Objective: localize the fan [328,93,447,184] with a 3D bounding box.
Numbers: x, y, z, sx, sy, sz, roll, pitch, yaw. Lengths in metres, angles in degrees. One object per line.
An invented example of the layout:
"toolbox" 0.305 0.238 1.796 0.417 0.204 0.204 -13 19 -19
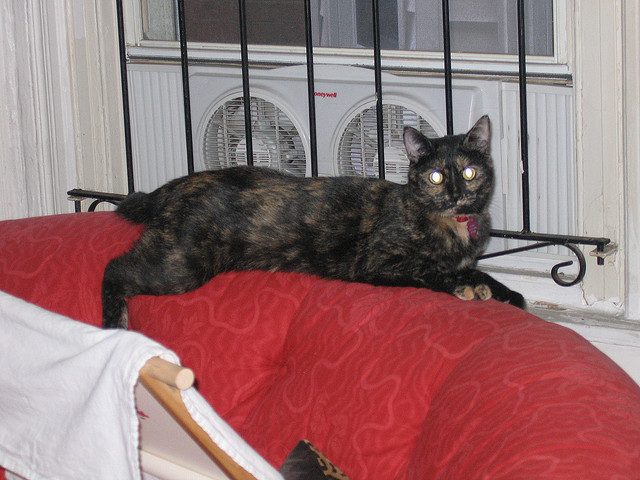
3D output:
"fan" 0.204 -0.368 3.122 0.361 0.363 0.087 5 8 29

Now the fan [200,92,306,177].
"fan" -0.251 -0.393 3.324 0.361 0.368 0.089 5 7 15

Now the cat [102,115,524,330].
"cat" -0.040 -0.029 2.679 1.211 0.673 0.430 4 10 10
